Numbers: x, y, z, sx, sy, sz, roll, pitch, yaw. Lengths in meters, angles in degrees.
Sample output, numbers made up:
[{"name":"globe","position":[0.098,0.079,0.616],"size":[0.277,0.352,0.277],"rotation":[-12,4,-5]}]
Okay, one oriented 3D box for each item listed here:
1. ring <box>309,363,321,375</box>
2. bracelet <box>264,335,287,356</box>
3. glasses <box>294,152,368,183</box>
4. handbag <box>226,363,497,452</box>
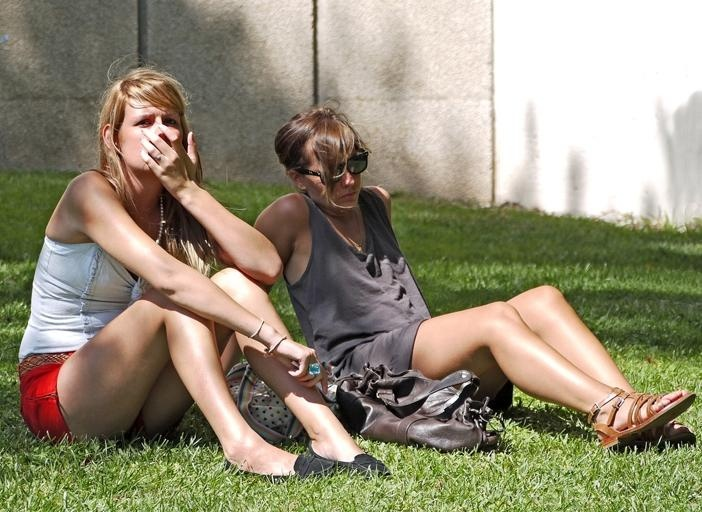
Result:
[{"name":"ring","position":[-0.180,0.553,4.253],"size":[0.073,0.063,0.020],"rotation":[-8,16,-34]},{"name":"bracelet","position":[-0.364,0.438,4.218],"size":[0.092,0.033,0.065],"rotation":[-35,3,-3]},{"name":"glasses","position":[-0.065,-0.480,4.802],"size":[0.223,0.074,0.221],"rotation":[-16,12,-42]},{"name":"handbag","position":[0.085,0.804,4.388],"size":[0.964,0.399,0.603],"rotation":[3,14,33]}]
